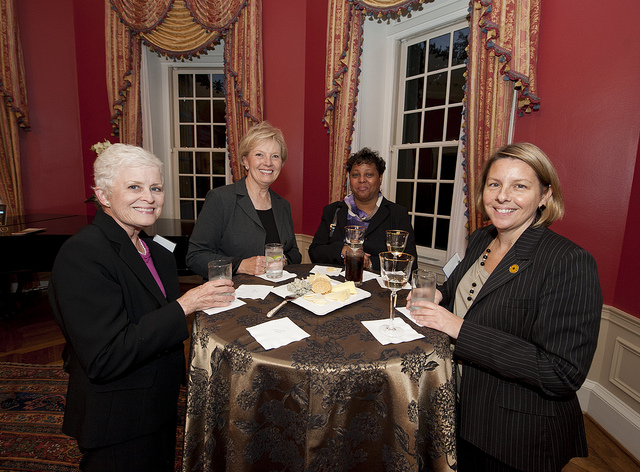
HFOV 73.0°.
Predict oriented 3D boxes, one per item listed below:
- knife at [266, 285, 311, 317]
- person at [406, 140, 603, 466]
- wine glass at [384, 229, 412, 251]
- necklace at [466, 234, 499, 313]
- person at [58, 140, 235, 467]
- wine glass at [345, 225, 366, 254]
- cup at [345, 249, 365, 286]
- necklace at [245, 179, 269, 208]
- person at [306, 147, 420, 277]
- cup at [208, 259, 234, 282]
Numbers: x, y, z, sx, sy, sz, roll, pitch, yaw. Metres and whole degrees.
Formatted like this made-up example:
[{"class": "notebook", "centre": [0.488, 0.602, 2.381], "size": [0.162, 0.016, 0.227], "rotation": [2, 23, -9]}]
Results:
[{"class": "knife", "centre": [-0.192, 0.376, 2.467], "size": [0.087, 0.027, 0.307], "rotation": [-2, 19, 25]}, {"class": "person", "centre": [1.056, 0.384, 2.377], "size": [0.908, 1.750, 0.723], "rotation": [10, 14, 33]}, {"class": "wine glass", "centre": [0.542, 0.020, 3.015], "size": [0.179, 0.167, 0.206], "rotation": [2, 4, 0]}, {"class": "necklace", "centre": [1.069, 0.081, 2.712], "size": [0.066, 0.079, 0.992], "rotation": [26, 47, 11]}, {"class": "person", "centre": [-1.024, 0.388, 2.360], "size": [0.764, 1.731, 0.546], "rotation": [-6, 14, -35]}, {"class": "wine glass", "centre": [0.228, 0.008, 3.016], "size": [0.144, 0.240, 0.157], "rotation": [0, -1, 1]}, {"class": "cup", "centre": [0.226, 0.204, 2.763], "size": [0.124, 0.219, 0.132], "rotation": [-4, 12, 1]}, {"class": "necklace", "centre": [-0.493, -0.332, 3.359], "size": [0.187, 0.202, 0.103], "rotation": [0, 12, -11]}, {"class": "person", "centre": [0.423, -0.244, 3.753], "size": [1.140, 1.365, 0.752], "rotation": [2, -4, 17]}, {"class": "cup", "centre": [-0.579, 0.195, 2.533], "size": [0.120, 0.138, 0.123], "rotation": [1, 3, 0]}]
